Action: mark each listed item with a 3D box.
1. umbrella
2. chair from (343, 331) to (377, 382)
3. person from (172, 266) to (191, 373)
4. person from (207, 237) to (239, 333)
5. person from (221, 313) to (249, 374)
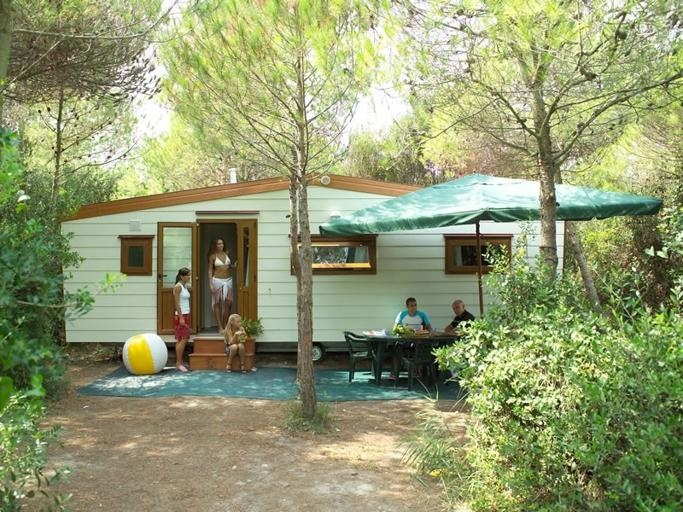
[{"bbox_3d":[2.281,-0.267,9.698,4.953,2.211,1.836,0,3,16],"label":"umbrella"},{"bbox_3d":[0.330,1.720,10.201,0.528,0.785,0.603,-2,-3,3],"label":"chair"},{"bbox_3d":[-2.933,1.157,10.997,0.279,1.861,0.739,-1,3,-16],"label":"person"},{"bbox_3d":[-2.356,0.573,11.731,0.467,1.841,0.613,-1,3,-5],"label":"person"},{"bbox_3d":[-1.926,1.586,10.874,0.399,1.033,0.376,-1,3,-12],"label":"person"}]
